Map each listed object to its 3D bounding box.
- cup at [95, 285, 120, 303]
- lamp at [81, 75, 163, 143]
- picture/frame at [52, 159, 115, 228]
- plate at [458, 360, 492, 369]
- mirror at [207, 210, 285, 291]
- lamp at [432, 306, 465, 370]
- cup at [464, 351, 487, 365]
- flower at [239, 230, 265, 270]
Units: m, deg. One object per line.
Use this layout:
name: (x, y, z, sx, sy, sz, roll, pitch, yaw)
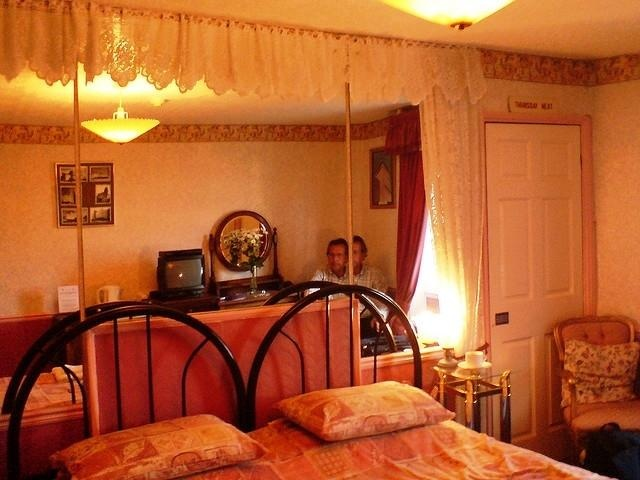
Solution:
cup: (-1.609, 0.410, 3.928, 0.206, 0.189, 0.127, 2, -1, -22)
lamp: (-1.356, -0.872, 3.596, 0.422, 0.303, 0.416, -1, 2, 6)
picture/frame: (-1.843, -0.355, 4.017, 0.636, 0.705, 0.031, 0, -6, -12)
plate: (0.929, 0.755, 3.164, 0.116, 0.016, 0.117, -4, -3, 34)
mirror: (-0.706, 0.103, 4.720, 0.759, 0.836, 0.256, -1, -2, -31)
lamp: (0.827, 0.626, 3.342, 0.153, 0.370, 0.154, 3, -2, -9)
cup: (0.944, 0.709, 3.182, 0.108, 0.084, 0.121, -1, -8, -1)
flower: (-0.585, 0.057, 4.837, 0.104, 0.384, 0.355, 9, -30, -37)
